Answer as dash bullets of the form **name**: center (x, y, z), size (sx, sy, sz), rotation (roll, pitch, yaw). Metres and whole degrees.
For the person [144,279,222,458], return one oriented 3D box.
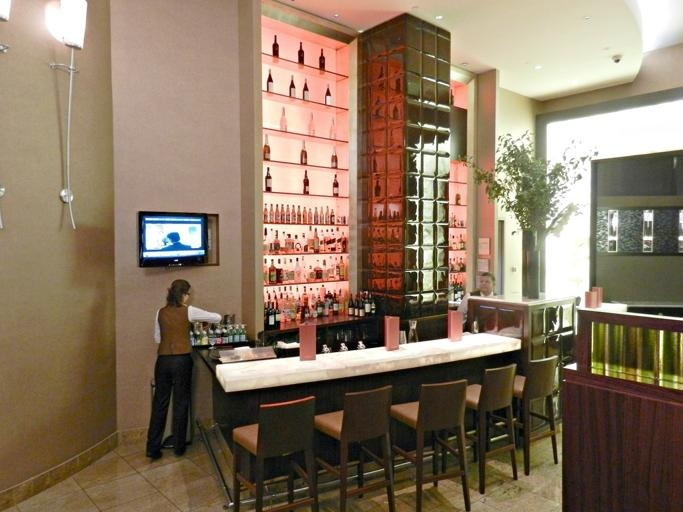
- **person**: center (-1.720, 1.172, 5.962), size (0.801, 1.810, 0.438), rotation (-9, 14, -32)

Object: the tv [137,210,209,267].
- **tv**: center (-1.895, -0.187, 6.287), size (0.592, 0.524, 0.082), rotation (-2, 4, -34)
